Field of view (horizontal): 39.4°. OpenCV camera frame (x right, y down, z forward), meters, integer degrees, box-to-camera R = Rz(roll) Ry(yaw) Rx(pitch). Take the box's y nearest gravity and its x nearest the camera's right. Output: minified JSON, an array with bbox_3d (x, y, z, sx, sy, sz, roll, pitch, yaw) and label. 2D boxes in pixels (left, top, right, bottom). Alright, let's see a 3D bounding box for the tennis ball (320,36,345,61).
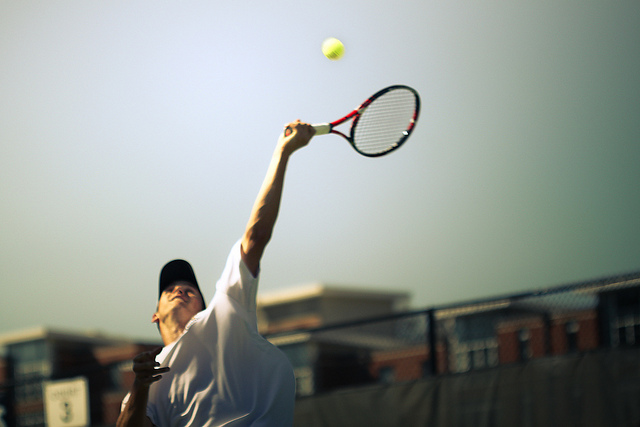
[{"bbox_3d":[0.138,-1.792,9.633,0.205,0.256,0.253,-4,0,0],"label":"tennis ball"}]
